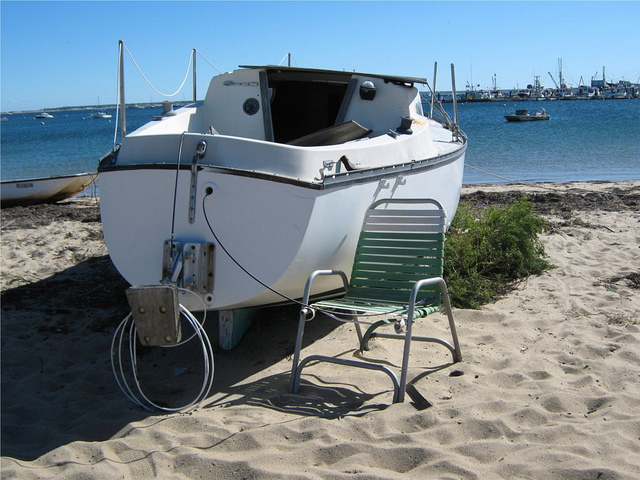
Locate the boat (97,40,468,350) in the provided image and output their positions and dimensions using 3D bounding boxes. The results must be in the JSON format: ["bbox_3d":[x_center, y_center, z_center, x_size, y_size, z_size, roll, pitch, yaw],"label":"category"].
[{"bbox_3d":[-0.220,-0.944,6.364,2.441,2.358,5.038,3,8,26],"label":"boat"}]

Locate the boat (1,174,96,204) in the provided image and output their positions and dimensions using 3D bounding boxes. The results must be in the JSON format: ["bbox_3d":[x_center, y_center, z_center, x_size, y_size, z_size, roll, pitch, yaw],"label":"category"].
[{"bbox_3d":[-5.932,-1.099,12.550,0.447,0.449,2.078,17,26,38],"label":"boat"}]
